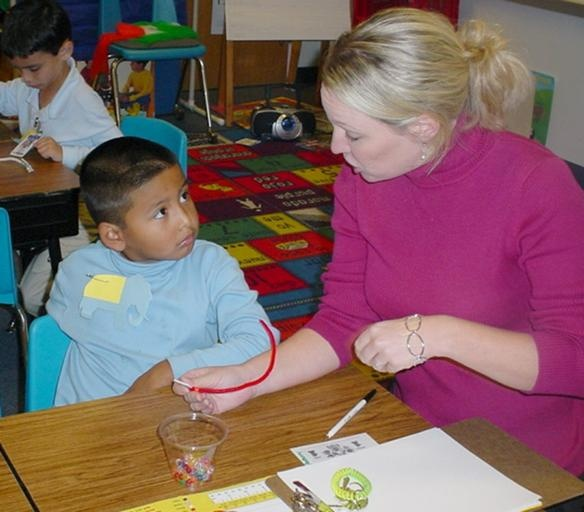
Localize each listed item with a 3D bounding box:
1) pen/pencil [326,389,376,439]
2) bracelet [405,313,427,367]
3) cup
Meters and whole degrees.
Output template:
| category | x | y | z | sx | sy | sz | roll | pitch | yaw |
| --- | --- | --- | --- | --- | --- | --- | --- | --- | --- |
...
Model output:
| category | x | y | z | sx | sy | sz | roll | pitch | yaw |
| --- | --- | --- | --- | --- | --- | --- | --- | --- | --- |
| pen/pencil | 0.106 | 0.287 | 0.889 | 0.014 | 0.010 | 0.135 | 44 | 36 | 15 |
| bracelet | 0.215 | 0.146 | 0.867 | 0.040 | 0.074 | 0.057 | 3 | 19 | 3 |
| cup | -0.137 | 0.301 | 0.766 | 0.112 | 0.067 | 0.097 | 6 | 24 | 8 |
